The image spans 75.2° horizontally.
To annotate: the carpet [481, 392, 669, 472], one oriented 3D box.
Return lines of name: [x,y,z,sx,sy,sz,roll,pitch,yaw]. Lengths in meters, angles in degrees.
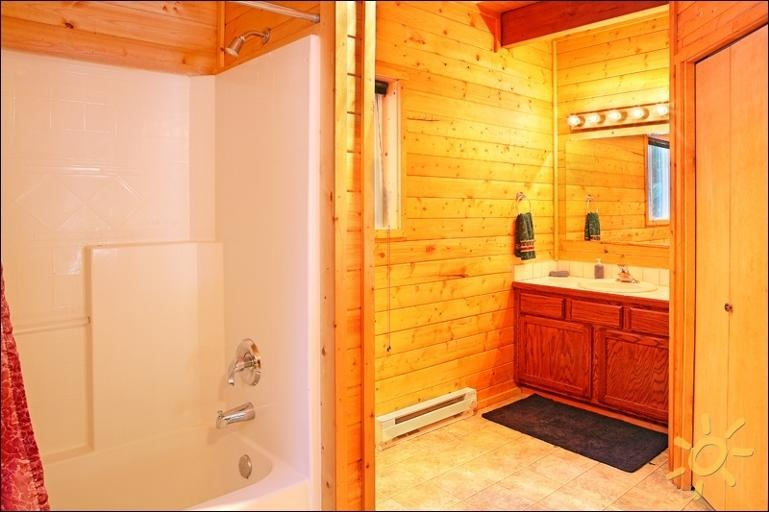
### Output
carpet: [1.546,1.351,3.856,1.070,0.023,0.709,8,15,44]

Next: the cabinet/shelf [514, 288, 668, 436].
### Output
cabinet/shelf: [1.708,0.864,4.018,0.428,0.752,1.179,1,-1,-44]

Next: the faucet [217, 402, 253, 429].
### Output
faucet: [-0.890,0.948,2.991,0.221,0.098,0.124,-8,18,-30]

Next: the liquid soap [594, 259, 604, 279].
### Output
liquid soap: [1.953,0.113,4.521,0.085,0.166,0.113,7,15,38]

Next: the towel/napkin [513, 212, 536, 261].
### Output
towel/napkin: [1.276,-0.189,4.539,0.171,0.418,0.175,-5,12,-11]

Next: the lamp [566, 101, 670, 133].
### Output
lamp: [2.077,-1.262,4.488,0.861,0.213,0.085,7,15,39]

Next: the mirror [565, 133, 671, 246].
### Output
mirror: [2.116,-0.616,4.445,0.112,1.273,1.159,-3,4,-42]

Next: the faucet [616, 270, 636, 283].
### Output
faucet: [2.104,0.168,4.348,0.108,0.070,0.159,-1,8,9]
